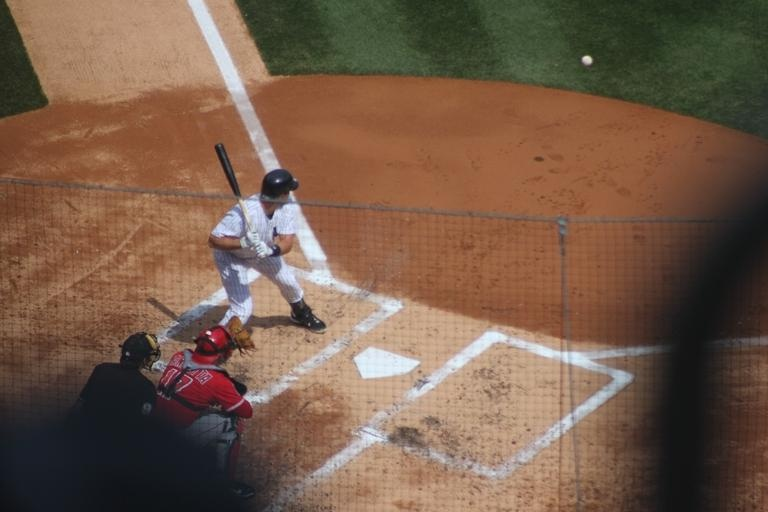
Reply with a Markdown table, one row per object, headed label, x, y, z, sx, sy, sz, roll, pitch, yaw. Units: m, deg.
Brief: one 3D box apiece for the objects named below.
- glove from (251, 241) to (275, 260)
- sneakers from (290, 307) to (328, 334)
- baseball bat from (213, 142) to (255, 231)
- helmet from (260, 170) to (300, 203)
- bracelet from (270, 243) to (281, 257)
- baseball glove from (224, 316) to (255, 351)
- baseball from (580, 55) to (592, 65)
| label | x | y | z | sx | sy | sz | roll | pitch | yaw |
| --- | --- | --- | --- | --- | --- | --- | --- | --- | --- |
| glove | -1.931 | -0.122 | 23.148 | 0.310 | 0.105 | 0.238 | 25 | 2 | 23 |
| sneakers | -1.258 | 1.030 | 23.985 | 0.661 | 0.288 | 0.296 | 31 | 64 | 14 |
| baseball bat | -2.540 | -1.137 | 24.430 | 0.202 | 1.714 | 0.196 | -21 | 1 | 14 |
| helmet | -1.665 | -1.157 | 23.187 | 0.603 | 0.308 | 0.441 | -37 | 52 | -27 |
| bracelet | -1.744 | -0.107 | 23.280 | 0.155 | 0.144 | 0.149 | -4 | -8 | 4 |
| baseball glove | -2.296 | 1.268 | 22.830 | 0.408 | 0.199 | 0.679 | -3 | 29 | -22 |
| baseball | 3.705 | -3.630 | 26.781 | 0.204 | 0.169 | 0.174 | 0 | 34 | 8 |
